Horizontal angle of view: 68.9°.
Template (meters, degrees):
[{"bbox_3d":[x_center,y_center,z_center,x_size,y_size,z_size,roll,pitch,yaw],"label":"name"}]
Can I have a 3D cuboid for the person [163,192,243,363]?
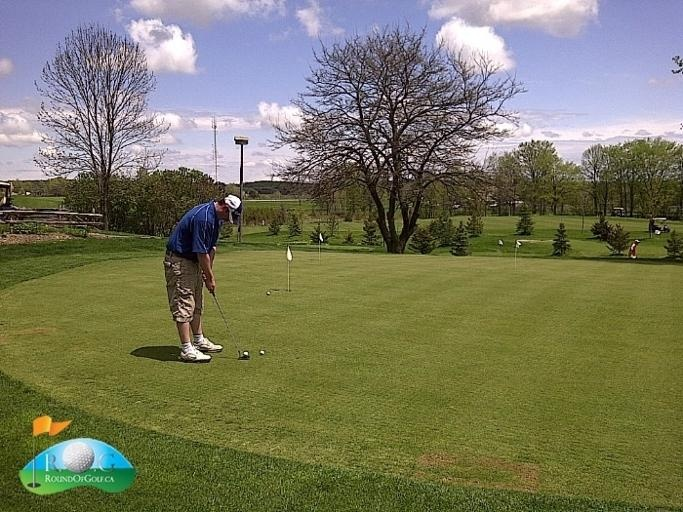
[{"bbox_3d":[-1.875,0.245,6.643,0.849,2.092,1.015,-3,8,-30],"label":"person"}]

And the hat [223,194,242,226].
[{"bbox_3d":[-1.492,-0.632,6.857,0.225,0.409,0.924,-1,7,-13],"label":"hat"}]

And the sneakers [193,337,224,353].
[{"bbox_3d":[-1.796,1.193,6.750,0.435,0.209,0.172,5,4,-4],"label":"sneakers"}]

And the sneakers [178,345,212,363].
[{"bbox_3d":[-1.849,1.260,6.368,0.407,0.206,0.178,3,2,-2],"label":"sneakers"}]
